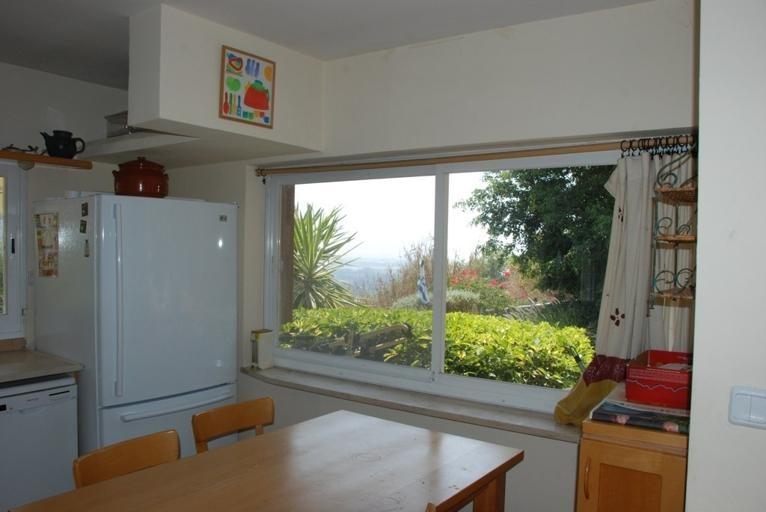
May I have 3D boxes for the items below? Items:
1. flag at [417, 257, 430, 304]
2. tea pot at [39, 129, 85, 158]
[{"bbox_3d":[0.288,0.185,4.066,0.082,0.289,0.072,-5,7,-8],"label":"flag"},{"bbox_3d":[-2.360,-0.812,4.167,0.233,0.203,0.191,-10,15,-40],"label":"tea pot"}]
